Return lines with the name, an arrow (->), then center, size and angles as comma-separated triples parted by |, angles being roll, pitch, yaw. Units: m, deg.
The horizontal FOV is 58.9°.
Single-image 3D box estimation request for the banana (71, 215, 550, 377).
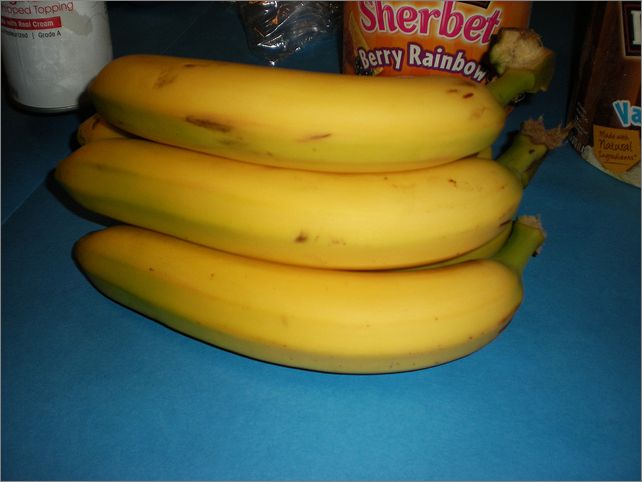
banana -> -0.027, 0.002, 0.562 | 0.391, 0.125, 0.176 | 12, 26, 14
